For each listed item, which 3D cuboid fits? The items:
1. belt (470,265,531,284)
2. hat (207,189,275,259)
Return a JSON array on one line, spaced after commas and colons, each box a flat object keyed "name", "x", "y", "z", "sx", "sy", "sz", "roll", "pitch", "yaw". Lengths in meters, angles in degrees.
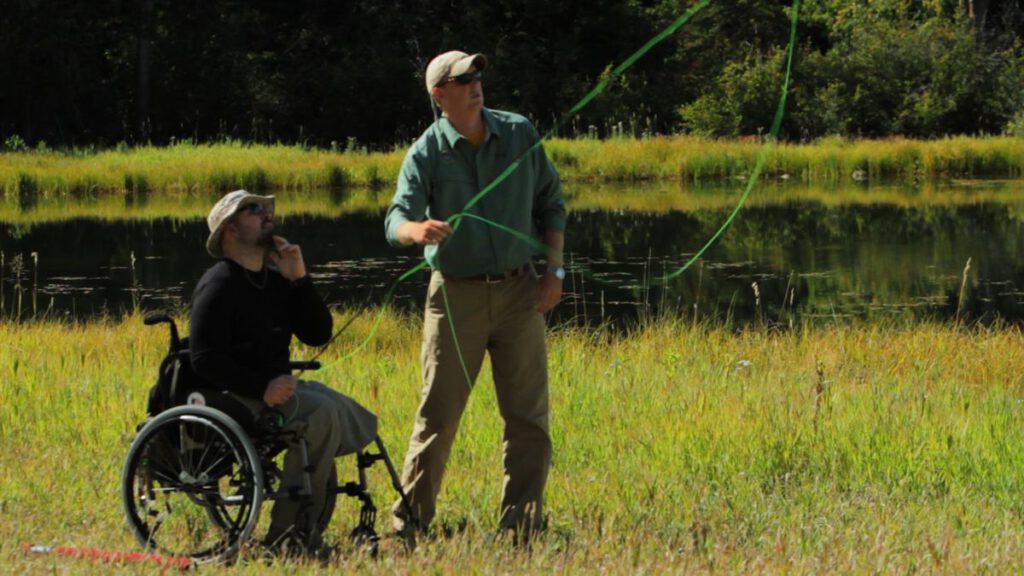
[{"name": "belt", "x": -0.131, "y": -0.230, "z": 18.862, "sx": 0.892, "sy": 0.257, "sz": 0.156, "roll": 1, "pitch": 3, "yaw": 0}, {"name": "hat", "x": -4.216, "y": -1.040, "z": 18.785, "sx": 1.009, "sy": 0.434, "sz": 0.905, "roll": -45, "pitch": -9, "yaw": 29}]
